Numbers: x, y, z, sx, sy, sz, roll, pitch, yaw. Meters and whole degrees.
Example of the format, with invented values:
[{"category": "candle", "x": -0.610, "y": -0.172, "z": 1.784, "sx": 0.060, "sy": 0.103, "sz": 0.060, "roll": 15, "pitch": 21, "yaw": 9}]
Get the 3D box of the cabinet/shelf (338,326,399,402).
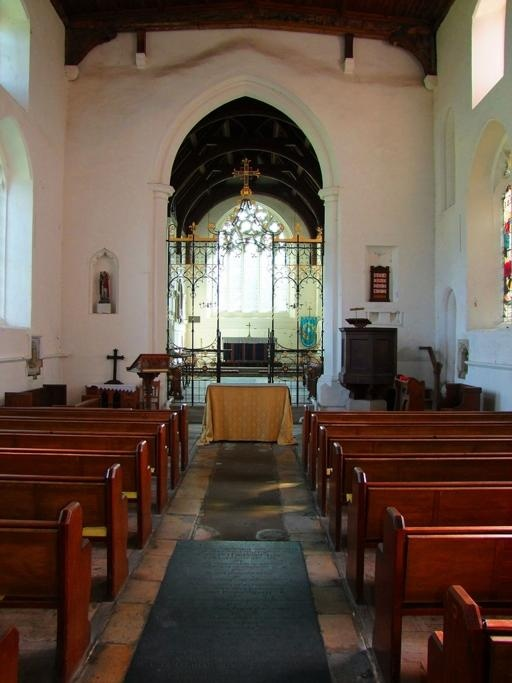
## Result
[{"category": "cabinet/shelf", "x": 1.577, "y": 0.261, "z": 8.594, "sx": 0.920, "sy": 1.311, "sz": 1.071, "roll": 0, "pitch": -2, "yaw": 23}]
